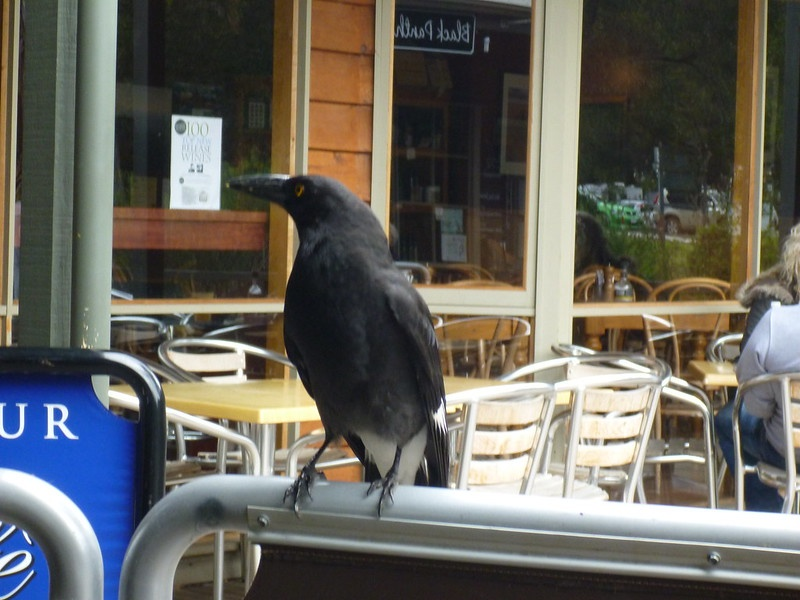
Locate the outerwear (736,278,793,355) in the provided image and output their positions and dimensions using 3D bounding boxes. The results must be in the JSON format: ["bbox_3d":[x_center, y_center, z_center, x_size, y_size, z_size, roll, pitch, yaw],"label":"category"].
[{"bbox_3d":[1.957,0.089,10.409,0.259,0.514,0.428,0,3,-6],"label":"outerwear"}]

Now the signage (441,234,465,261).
[{"bbox_3d":[0.295,-0.320,11.360,0.110,0.155,0.017,2,-1,-15],"label":"signage"}]

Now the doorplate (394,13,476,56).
[{"bbox_3d":[0.181,-1.597,11.254,0.453,0.283,0.057,5,-28,-7],"label":"doorplate"}]

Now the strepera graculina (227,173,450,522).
[{"bbox_3d":[-0.191,0.146,7.837,0.780,1.308,0.452,1,5,0],"label":"strepera graculina"}]

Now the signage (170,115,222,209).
[{"bbox_3d":[-1.199,-0.809,11.046,0.287,0.639,0.017,-1,37,-10],"label":"signage"}]

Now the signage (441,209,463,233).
[{"bbox_3d":[0.289,-0.483,11.343,0.101,0.144,0.016,0,5,-5],"label":"signage"}]

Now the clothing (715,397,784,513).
[{"bbox_3d":[1.843,0.820,10.050,0.322,0.698,0.394,-10,42,23],"label":"clothing"}]

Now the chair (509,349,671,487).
[{"bbox_3d":[1.045,0.675,9.724,0.491,0.769,0.587,-3,14,5],"label":"chair"}]
